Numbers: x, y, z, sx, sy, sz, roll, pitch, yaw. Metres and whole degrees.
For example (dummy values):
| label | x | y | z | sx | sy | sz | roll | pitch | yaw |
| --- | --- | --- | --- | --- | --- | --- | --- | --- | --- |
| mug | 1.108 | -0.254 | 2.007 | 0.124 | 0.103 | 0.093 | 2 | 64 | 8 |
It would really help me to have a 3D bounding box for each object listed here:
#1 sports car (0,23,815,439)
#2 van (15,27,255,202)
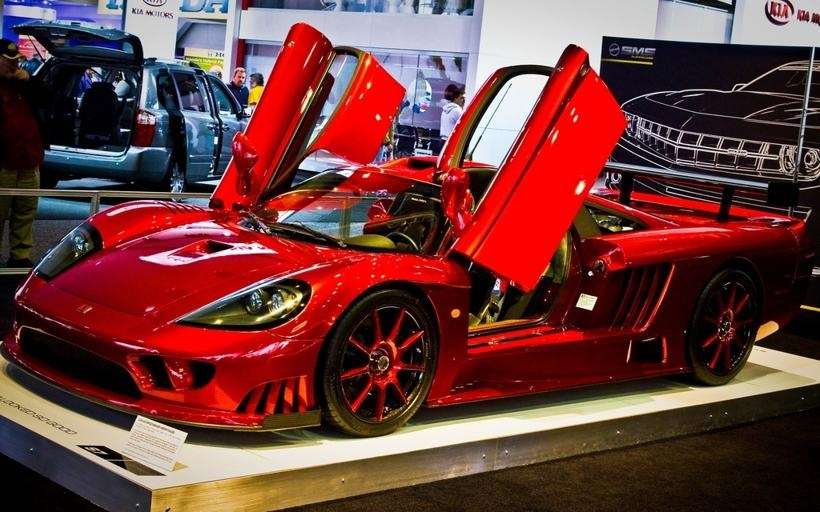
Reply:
| label | x | y | z | sx | sy | sz | roll | pitch | yaw |
| --- | --- | --- | --- | --- | --- | --- | --- | --- | --- |
| sports car | 0.273 | -0.091 | 4.175 | 5.378 | 2.195 | 2.653 | -1 | 8 | -31 |
| van | -4.545 | -2.848 | 9.461 | 4.522 | 2.044 | 2.320 | 16 | 13 | 22 |
